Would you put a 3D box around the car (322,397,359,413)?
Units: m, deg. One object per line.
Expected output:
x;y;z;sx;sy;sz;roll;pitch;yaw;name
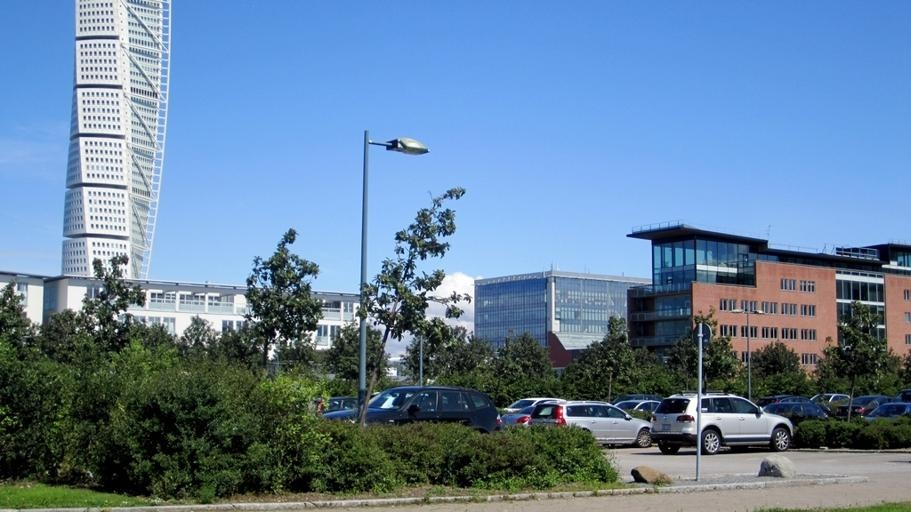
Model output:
-8.079;10.646;90.581;1.916;0.879;1.067;2;-6;1;car
